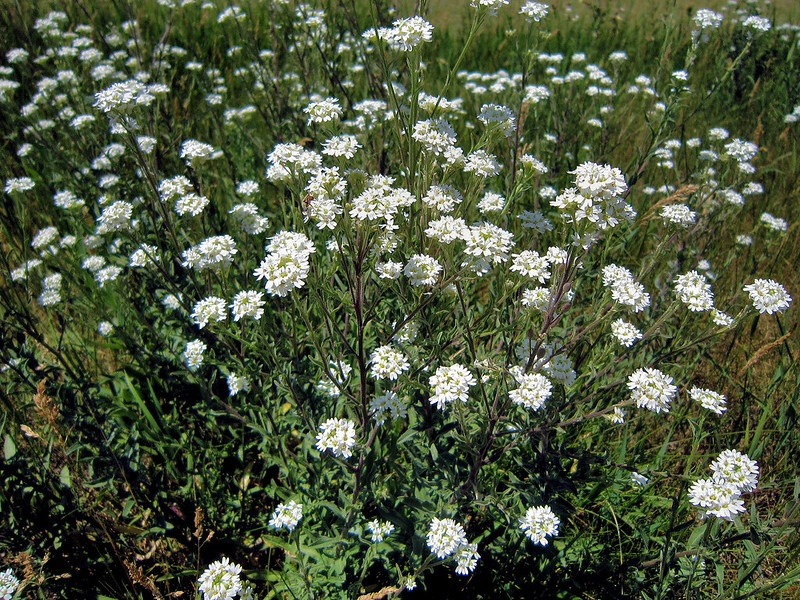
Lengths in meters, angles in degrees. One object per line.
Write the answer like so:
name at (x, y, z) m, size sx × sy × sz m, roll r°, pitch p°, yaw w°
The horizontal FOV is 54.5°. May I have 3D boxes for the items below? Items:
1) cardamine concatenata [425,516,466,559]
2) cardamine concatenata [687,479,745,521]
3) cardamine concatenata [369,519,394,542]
cardamine concatenata at (0.304, 1.649, 5.429) m, size 0.242 × 0.199 × 0.264 m, roll 21°, pitch 48°, yaw 27°
cardamine concatenata at (2.172, 1.381, 5.362) m, size 0.301 × 0.123 × 0.288 m, roll -45°, pitch 46°, yaw -16°
cardamine concatenata at (-0.151, 1.702, 5.774) m, size 0.142 × 0.060 × 0.179 m, roll -6°, pitch 69°, yaw 1°
